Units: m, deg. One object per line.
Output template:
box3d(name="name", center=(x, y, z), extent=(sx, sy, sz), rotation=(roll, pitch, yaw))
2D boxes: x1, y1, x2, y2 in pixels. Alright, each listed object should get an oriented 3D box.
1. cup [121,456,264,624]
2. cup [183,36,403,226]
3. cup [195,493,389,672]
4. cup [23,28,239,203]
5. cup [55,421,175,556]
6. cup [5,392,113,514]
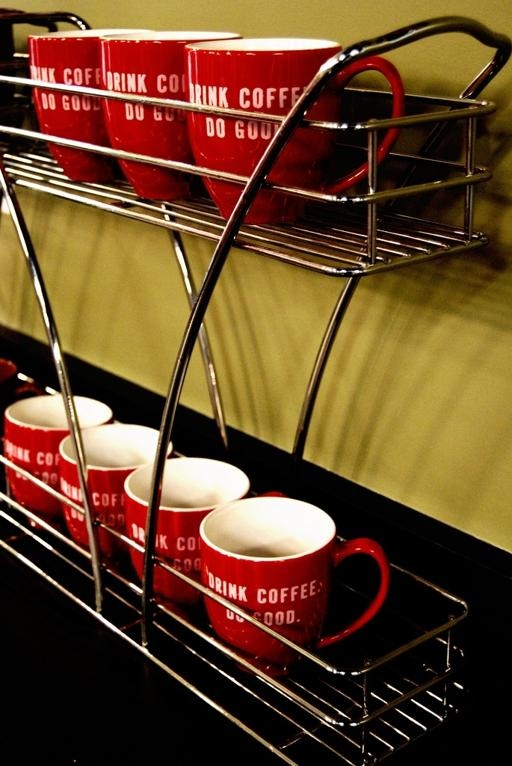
box3d(name="cup", center=(-0.054, 0.106, 0.478), extent=(0.079, 0.075, 0.096), rotation=(-13, 24, -39))
box3d(name="cup", center=(0.008, -0.123, 0.311), extent=(0.122, 0.088, 0.081), rotation=(-18, 32, -27))
box3d(name="cup", center=(0.026, 0.124, 0.376), extent=(0.111, 0.082, 0.078), rotation=(3, 13, 13))
box3d(name="cup", center=(-0.081, -0.158, 0.442), extent=(0.132, 0.095, 0.128), rotation=(0, 14, 0))
box3d(name="cup", center=(-0.113, 0.095, 0.497), extent=(0.061, 0.061, 0.074), rotation=(8, -8, -28))
box3d(name="cup", center=(-0.182, 0.064, 0.604), extent=(0.090, 0.087, 0.117), rotation=(-4, 20, -13))
